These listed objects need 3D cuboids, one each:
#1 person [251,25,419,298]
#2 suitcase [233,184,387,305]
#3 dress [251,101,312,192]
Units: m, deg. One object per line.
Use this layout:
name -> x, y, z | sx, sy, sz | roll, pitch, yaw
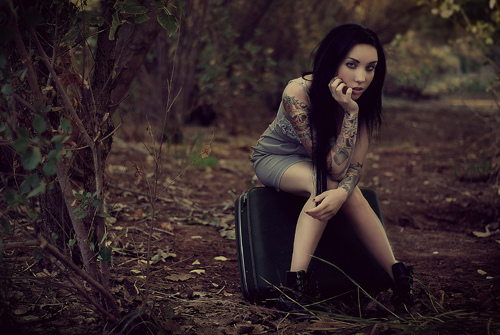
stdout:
person -> 0.540, -0.111, 3.072 | 1.016, 1.601, 0.677 | 4, 9, -2
suitcase -> 0.392, 0.514, 3.015 | 0.757, 0.619, 0.239 | 1, -16, -17
dress -> 0.202, -0.145, 3.219 | 0.458, 0.588, 0.266 | 7, 9, 18
